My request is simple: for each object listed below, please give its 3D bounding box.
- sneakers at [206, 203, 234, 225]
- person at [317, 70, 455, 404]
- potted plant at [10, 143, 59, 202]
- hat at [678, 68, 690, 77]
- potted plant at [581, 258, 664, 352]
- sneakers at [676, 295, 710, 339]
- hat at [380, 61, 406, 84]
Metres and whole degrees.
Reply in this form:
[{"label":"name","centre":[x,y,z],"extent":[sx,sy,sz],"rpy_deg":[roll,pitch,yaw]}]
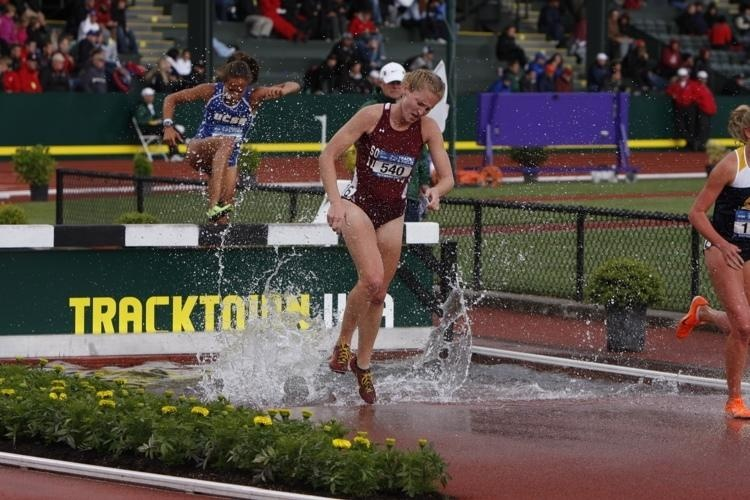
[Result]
[{"label":"sneakers","centre":[-1.952,-0.452,16.684],"extent":[0.151,0.199,0.420],"rpy_deg":[-7,9,-32]},{"label":"person","centre":[0.074,-0.196,14.666],"extent":[1.384,3.558,0.819],"rpy_deg":[0,19,-10]},{"label":"potted plant","centre":[-6.483,-1.426,25.238],"extent":[0.741,1.109,0.505],"rpy_deg":[-2,20,-17]},{"label":"hat","centre":[9.001,-5.166,38.845],"extent":[0.400,0.260,0.419],"rpy_deg":[0,9,1]},{"label":"potted plant","centre":[3.291,0.691,17.423],"extent":[1.100,1.224,1.092],"rpy_deg":[0,-6,11]},{"label":"sneakers","centre":[3.945,0.856,16.471],"extent":[0.211,0.638,0.253],"rpy_deg":[26,16,-27]},{"label":"hat","centre":[0.190,-2.104,15.882],"extent":[0.242,0.198,0.347],"rpy_deg":[0,4,-7]}]
